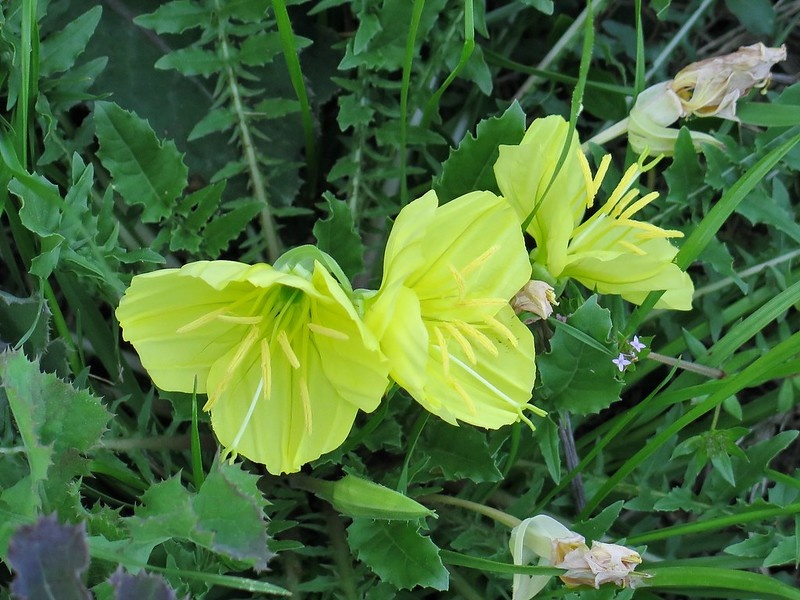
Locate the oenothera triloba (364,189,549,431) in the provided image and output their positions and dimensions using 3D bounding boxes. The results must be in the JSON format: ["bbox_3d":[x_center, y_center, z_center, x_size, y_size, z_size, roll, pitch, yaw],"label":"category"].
[{"bbox_3d":[0.032,0.052,1.315,0.321,0.143,0.352,-35,104,-36],"label":"oenothera triloba"}]

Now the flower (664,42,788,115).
[{"bbox_3d":[0.572,-0.391,1.416,0.160,0.148,0.068,-26,27,-22],"label":"flower"}]

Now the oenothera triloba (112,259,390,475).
[{"bbox_3d":[-0.215,0.096,1.228,0.361,0.313,0.278,-20,61,-12],"label":"oenothera triloba"}]

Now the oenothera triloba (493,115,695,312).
[{"bbox_3d":[0.280,-0.087,1.362,0.293,0.180,0.304,-16,73,-51],"label":"oenothera triloba"}]

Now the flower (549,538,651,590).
[{"bbox_3d":[0.303,0.410,1.238,0.125,0.081,0.065,25,39,1],"label":"flower"}]
